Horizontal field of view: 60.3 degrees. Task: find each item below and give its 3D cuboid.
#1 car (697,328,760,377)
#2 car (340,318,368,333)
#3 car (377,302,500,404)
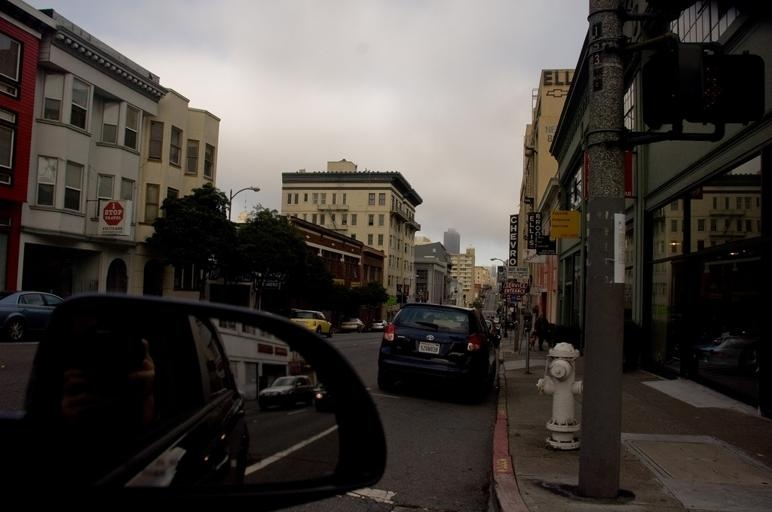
[{"bbox_3d":[6.176,1.719,11.921,1.060,0.814,2.432,-1,-2,36],"label":"car"},{"bbox_3d":[-3.007,6.443,61.414,1.510,1.155,3.962,8,-4,16],"label":"car"},{"bbox_3d":[1.230,1.761,13.263,1.336,1.150,2.450,0,-4,17],"label":"car"}]
